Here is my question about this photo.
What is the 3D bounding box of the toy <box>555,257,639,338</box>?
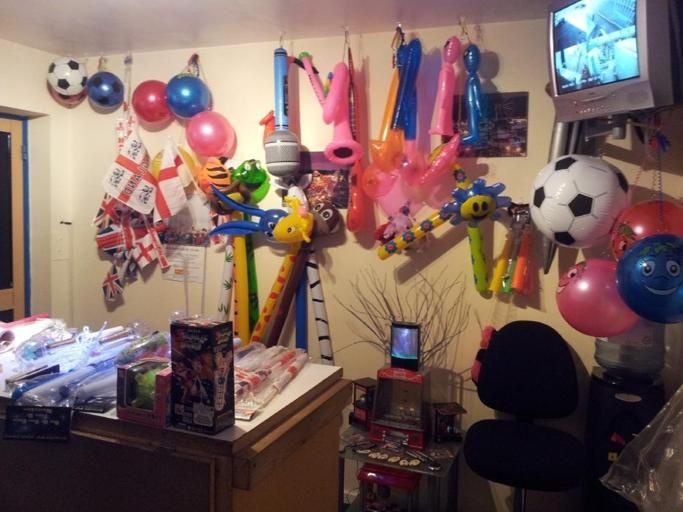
[{"bbox_3d":[1.089,0.199,2.566,0.332,0.411,0.339,-10,-2,-2],"label":"toy"}]

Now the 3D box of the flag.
[{"bbox_3d":[-1.348,-0.287,3.773,0.787,1.542,0.303,17,27,5],"label":"flag"}]

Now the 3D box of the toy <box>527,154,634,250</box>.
[{"bbox_3d":[1.176,-0.280,2.722,0.416,0.492,0.442,12,45,33],"label":"toy"}]

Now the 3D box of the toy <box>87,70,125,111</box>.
[{"bbox_3d":[-1.651,-1.195,3.815,0.184,0.195,0.195,-24,37,13],"label":"toy"}]

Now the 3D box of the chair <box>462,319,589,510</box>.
[{"bbox_3d":[0.948,0.750,2.837,0.581,0.704,0.555,1,7,19],"label":"chair"}]

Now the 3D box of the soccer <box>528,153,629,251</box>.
[{"bbox_3d":[1.136,-0.285,2.719,0.418,0.522,0.429,-5,-6,27],"label":"soccer"}]

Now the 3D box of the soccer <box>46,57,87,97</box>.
[{"bbox_3d":[-1.923,-1.249,3.835,0.264,0.253,0.235,-4,7,-22],"label":"soccer"}]

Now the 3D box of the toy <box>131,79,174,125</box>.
[{"bbox_3d":[-1.281,-1.043,3.725,0.268,0.326,0.271,-4,-1,-28],"label":"toy"}]

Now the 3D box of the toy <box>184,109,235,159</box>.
[{"bbox_3d":[-0.868,-0.794,3.560,0.265,0.333,0.278,-2,2,3],"label":"toy"}]

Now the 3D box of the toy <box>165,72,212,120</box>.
[{"bbox_3d":[-0.972,-1.045,3.543,0.232,0.237,0.229,-23,12,-31],"label":"toy"}]
